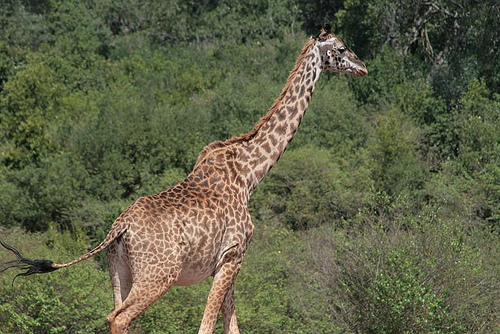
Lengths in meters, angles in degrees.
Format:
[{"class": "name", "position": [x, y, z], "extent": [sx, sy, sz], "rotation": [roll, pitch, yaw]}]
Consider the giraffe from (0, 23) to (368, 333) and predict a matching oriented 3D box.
[{"class": "giraffe", "position": [-0.631, 0.283, 27.656], "extent": [10.678, 9.499, 3.478], "rotation": [-16, 30, -39]}]
